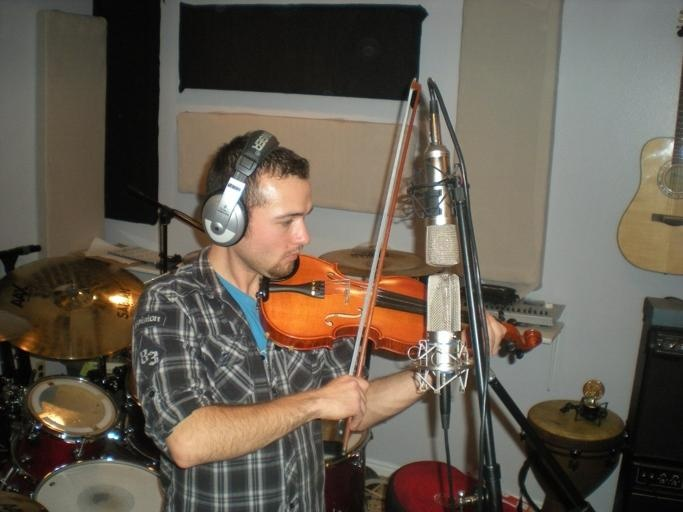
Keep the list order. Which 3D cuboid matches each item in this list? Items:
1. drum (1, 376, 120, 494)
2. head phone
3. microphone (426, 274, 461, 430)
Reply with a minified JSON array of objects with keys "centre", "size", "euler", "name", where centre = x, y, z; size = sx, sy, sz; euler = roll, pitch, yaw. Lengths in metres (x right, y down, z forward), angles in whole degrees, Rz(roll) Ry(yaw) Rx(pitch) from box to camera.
[{"centre":[-1.573,0.948,3.549],"size":[0.581,0.637,0.616],"euler":[15,17,28],"name":"drum"},{"centre":[-0.389,-0.304,2.653],"size":[0.206,0.476,0.509],"euler":[27,21,3],"name":"head phone"},{"centre":[0.367,0.326,2.205],"size":[0.117,0.530,0.123],"euler":[5,-12,-11],"name":"microphone"}]
